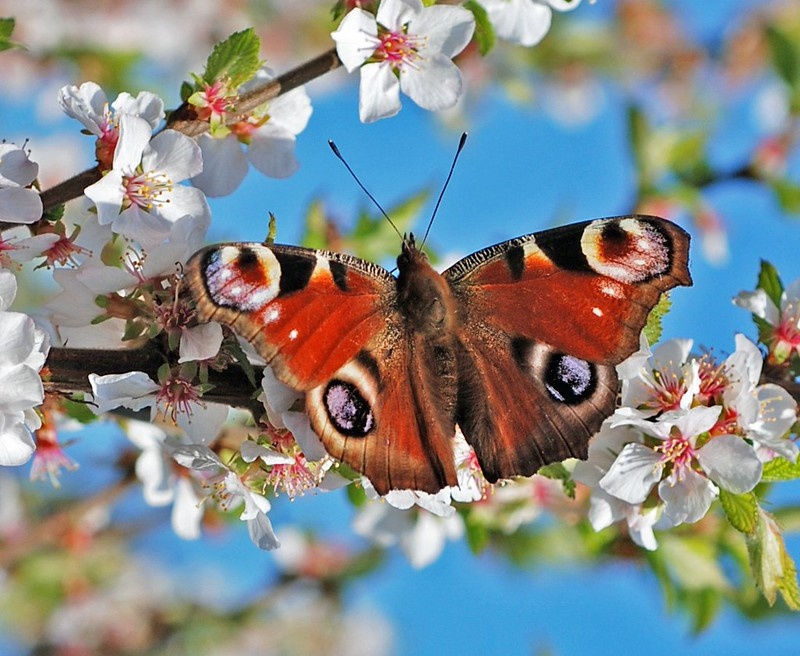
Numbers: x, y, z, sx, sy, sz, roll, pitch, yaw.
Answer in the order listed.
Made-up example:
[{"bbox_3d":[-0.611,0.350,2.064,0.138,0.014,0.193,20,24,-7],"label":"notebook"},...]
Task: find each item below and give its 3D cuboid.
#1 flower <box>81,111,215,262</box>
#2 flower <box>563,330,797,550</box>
[{"bbox_3d":[-0.722,-0.422,3.377,0.324,0.207,0.355,25,84,6],"label":"flower"},{"bbox_3d":[0.932,0.280,3.596,0.625,0.274,0.639,-2,104,16],"label":"flower"}]
